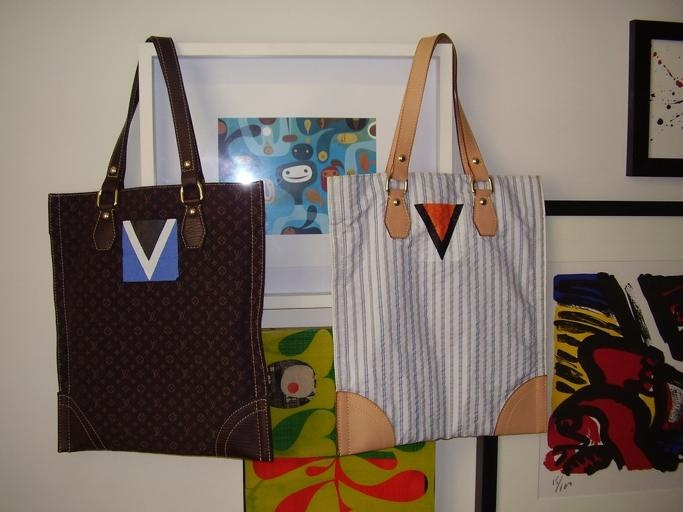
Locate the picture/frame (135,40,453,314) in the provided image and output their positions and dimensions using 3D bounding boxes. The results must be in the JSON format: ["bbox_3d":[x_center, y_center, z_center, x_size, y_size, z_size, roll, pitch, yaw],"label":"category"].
[{"bbox_3d":[-0.140,-0.204,2.161,0.602,0.593,0.055,-1,4,-4],"label":"picture/frame"}]
